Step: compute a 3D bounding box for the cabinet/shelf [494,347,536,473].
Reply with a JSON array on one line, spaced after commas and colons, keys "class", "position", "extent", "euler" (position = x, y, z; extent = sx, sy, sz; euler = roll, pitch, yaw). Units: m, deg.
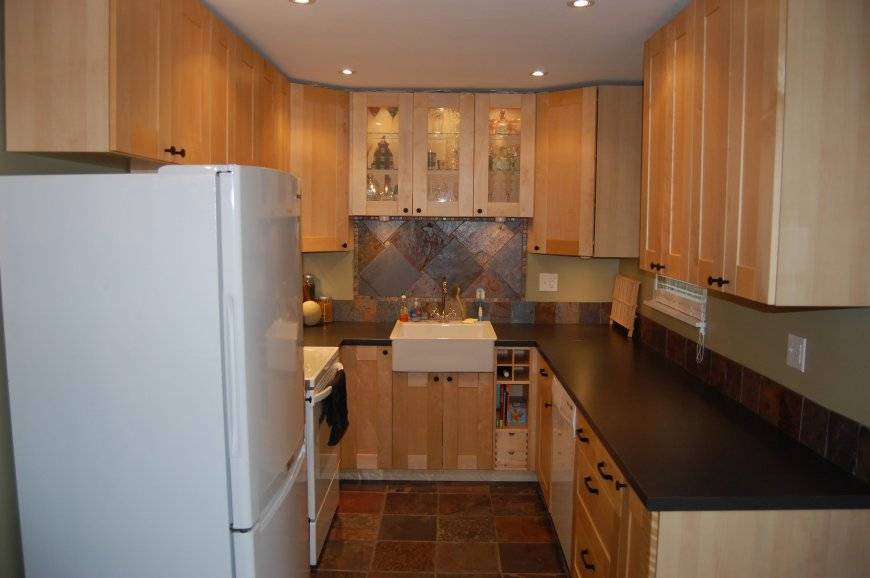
[{"class": "cabinet/shelf", "position": [0.575, 0.829, 4.900], "extent": [0.305, 0.920, 0.404], "euler": [-1, 12, 7]}]

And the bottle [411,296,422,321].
[{"class": "bottle", "position": [-0.150, 0.145, 5.274], "extent": [0.090, 0.163, 0.092], "euler": [-2, 12, 1]}]

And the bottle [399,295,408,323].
[{"class": "bottle", "position": [-0.239, 0.140, 5.251], "extent": [0.077, 0.185, 0.142], "euler": [-3, 12, -4]}]

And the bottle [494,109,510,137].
[{"class": "bottle", "position": [0.479, -1.235, 4.919], "extent": [0.131, 0.246, 0.136], "euler": [0, 0, 0]}]

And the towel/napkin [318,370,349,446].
[{"class": "towel/napkin", "position": [-0.586, 0.710, 4.088], "extent": [0.119, 0.369, 0.305], "euler": [2, -1, 17]}]

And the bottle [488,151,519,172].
[{"class": "bottle", "position": [0.501, -0.944, 4.951], "extent": [0.203, 0.139, 0.114], "euler": [0, 2, -2]}]

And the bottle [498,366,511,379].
[{"class": "bottle", "position": [0.495, 0.587, 4.828], "extent": [0.046, 0.050, 0.157], "euler": [4, 0, -1]}]

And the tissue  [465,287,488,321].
[{"class": "tissue ", "position": [0.327, 0.109, 5.288], "extent": [0.182, 0.254, 0.086], "euler": [-2, 12, 1]}]

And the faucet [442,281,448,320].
[{"class": "faucet", "position": [0.078, 0.065, 5.258], "extent": [0.050, 0.295, 0.123], "euler": [-2, 12, 1]}]
